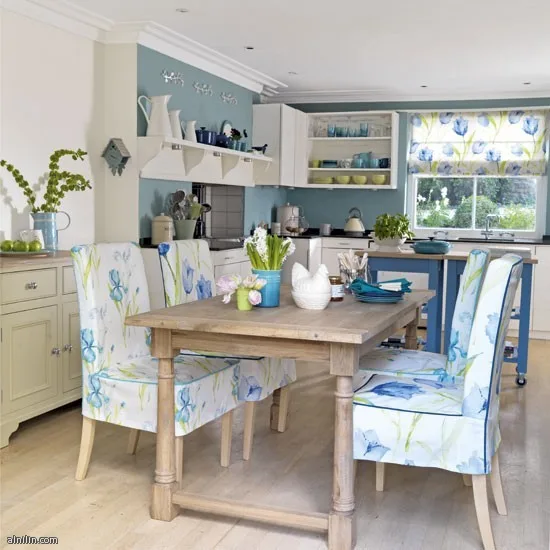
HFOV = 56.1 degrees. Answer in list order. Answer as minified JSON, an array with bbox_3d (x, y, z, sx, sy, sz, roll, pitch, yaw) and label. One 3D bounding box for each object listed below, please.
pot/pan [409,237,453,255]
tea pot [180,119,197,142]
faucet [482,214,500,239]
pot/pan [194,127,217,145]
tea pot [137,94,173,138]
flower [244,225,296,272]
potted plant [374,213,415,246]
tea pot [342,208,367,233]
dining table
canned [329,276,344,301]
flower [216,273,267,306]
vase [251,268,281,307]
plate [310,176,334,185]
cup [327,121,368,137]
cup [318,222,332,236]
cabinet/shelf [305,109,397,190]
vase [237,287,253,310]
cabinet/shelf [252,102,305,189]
[{"bbox_3d":[1.188,-0.215,3.845,0.211,0.093,0.215,-1,3,-4],"label":"pot/pan"},{"bbox_3d":[-0.708,-1.198,4.289,0.117,0.200,0.328,-5,10,-9],"label":"tea pot"},{"bbox_3d":[2.514,-0.596,6.096,0.200,0.292,0.124,-9,11,-30],"label":"faucet"},{"bbox_3d":[-0.604,-1.227,4.528,0.210,0.212,0.131,-8,14,-37],"label":"pot/pan"},{"bbox_3d":[-0.877,-1.210,3.888,0.233,0.356,0.332,-12,13,-41],"label":"tea pot"},{"bbox_3d":[-0.010,-0.093,2.130,0.186,0.211,0.175,0,-4,-17],"label":"flower"},{"bbox_3d":[0.924,-0.353,4.027,0.277,0.274,0.279,-1,10,14],"label":"potted plant"},{"bbox_3d":[1.022,-0.672,6.334,0.242,0.363,0.354,0,-2,15],"label":"tea pot"},{"bbox_3d":[-0.002,0.312,1.947,0.692,0.636,1.338,0,2,18],"label":"dining table"},{"bbox_3d":[0.264,0.057,2.237,0.086,0.088,0.087,-3,8,-16],"label":"canned"},{"bbox_3d":[-0.132,0.068,1.995,0.138,0.093,0.140,1,-4,-9],"label":"flower"},{"bbox_3d":[-0.043,0.050,2.079,0.134,0.153,0.134,1,6,-3],"label":"vase"},{"bbox_3d":[0.583,-1.182,6.410,0.143,0.050,0.149,0,0,38],"label":"plate"},{"bbox_3d":[0.873,-1.766,6.262,0.304,0.110,0.230,-7,11,-40],"label":"cup"},{"bbox_3d":[0.631,-0.570,6.379,0.164,0.155,0.126,1,2,14],"label":"cup"},{"bbox_3d":[0.967,-1.560,6.303,0.949,0.828,0.295,1,4,15],"label":"cabinet/shelf"},{"bbox_3d":[-0.126,0.083,1.991,0.073,0.083,0.074,0,-3,-6],"label":"vase"},{"bbox_3d":[0.019,-1.472,5.797,0.367,0.965,1.105,0,2,19],"label":"cabinet/shelf"}]
